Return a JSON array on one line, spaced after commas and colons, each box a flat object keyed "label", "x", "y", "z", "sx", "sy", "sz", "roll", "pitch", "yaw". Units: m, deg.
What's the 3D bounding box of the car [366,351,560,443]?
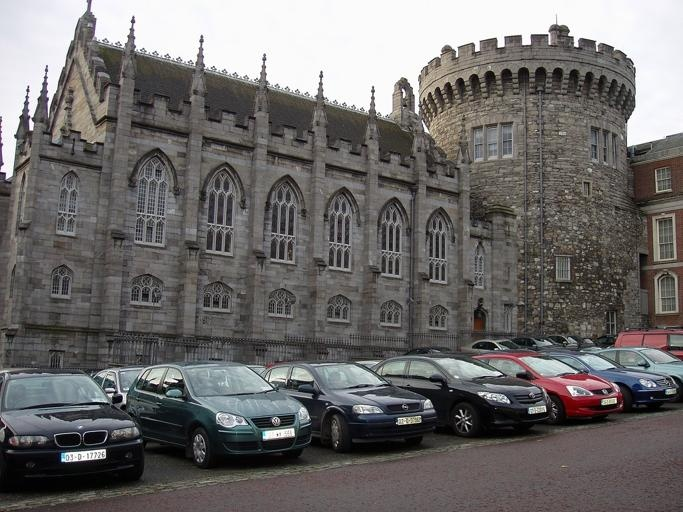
[{"label": "car", "x": 3.045, "y": 3.583, "z": 17.729, "sx": 1.920, "sy": 1.344, "sz": 3.868, "roll": 6, "pitch": -9, "yaw": -41}]

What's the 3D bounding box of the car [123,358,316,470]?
[{"label": "car", "x": -2.868, "y": 3.313, "z": 14.922, "sx": 2.096, "sy": 1.464, "sz": 3.587, "roll": 7, "pitch": -11, "yaw": -40}]
